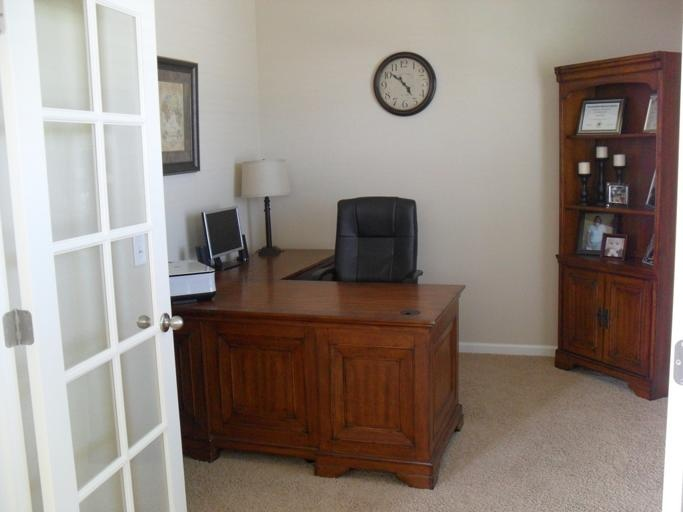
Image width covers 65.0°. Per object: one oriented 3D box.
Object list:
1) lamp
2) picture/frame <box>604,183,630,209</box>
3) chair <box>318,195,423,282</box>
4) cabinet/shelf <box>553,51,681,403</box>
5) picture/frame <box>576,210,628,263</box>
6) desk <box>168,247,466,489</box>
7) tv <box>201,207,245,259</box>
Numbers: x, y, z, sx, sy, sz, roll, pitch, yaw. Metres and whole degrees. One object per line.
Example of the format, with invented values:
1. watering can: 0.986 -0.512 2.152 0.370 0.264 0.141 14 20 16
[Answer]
1. lamp: -0.691 -0.431 4.668 0.399 0.808 0.492 -9 13 -31
2. picture/frame: 2.046 -0.446 3.985 0.183 0.234 0.022 8 9 41
3. chair: 0.203 -0.172 4.330 0.570 0.967 0.695 1 6 7
4. cabinet/shelf: 2.027 -0.243 3.919 0.529 2.293 0.977 -9 13 -32
5. picture/frame: 1.982 -0.145 4.062 0.016 0.457 0.362 15 -8 -37
6. desk: -0.071 0.609 3.149 1.163 0.577 1.187 2 10 17
7. tv: -0.917 -0.183 4.143 0.421 0.343 0.050 -8 -2 38
